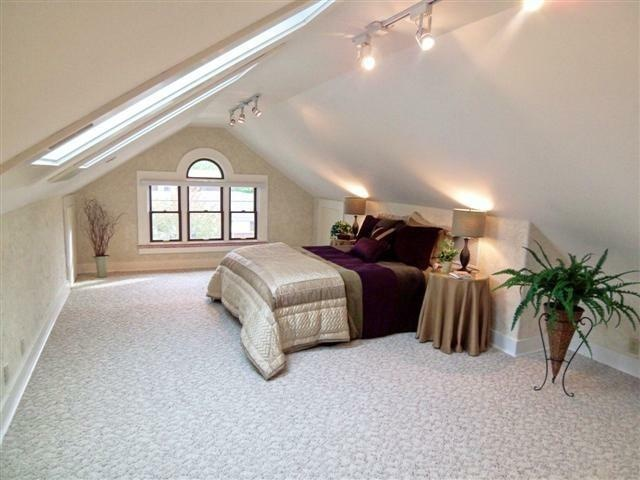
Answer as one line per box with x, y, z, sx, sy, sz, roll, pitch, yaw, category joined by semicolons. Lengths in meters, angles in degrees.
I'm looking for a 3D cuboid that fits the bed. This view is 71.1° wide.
0.181;0.575;4.988;1.333;0.508;1.340;-5;10;-23;bed

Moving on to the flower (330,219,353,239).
0.356;-0.188;7.259;0.294;0.221;0.300;-2;8;-10;flower

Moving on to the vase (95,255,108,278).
-3.435;0.409;7.035;0.168;0.344;0.169;-4;15;-22;vase

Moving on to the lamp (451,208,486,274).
1.640;0.005;4.909;0.325;0.708;0.439;15;19;42;lamp

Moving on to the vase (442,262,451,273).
1.364;0.289;4.819;0.107;0.111;0.087;1;8;3;vase
